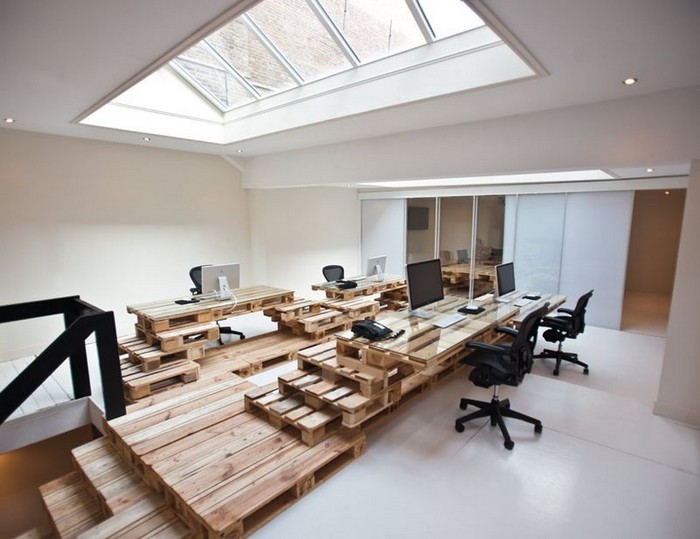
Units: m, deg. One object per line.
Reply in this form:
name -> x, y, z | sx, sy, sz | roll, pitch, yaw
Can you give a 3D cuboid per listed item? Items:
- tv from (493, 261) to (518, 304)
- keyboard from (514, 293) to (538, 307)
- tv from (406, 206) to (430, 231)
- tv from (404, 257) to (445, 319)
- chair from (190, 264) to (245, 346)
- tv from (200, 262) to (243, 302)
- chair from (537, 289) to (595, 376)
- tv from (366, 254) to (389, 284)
tv -> 2.437, 0.211, 6.869 | 0.190, 0.438, 0.607 | 7, 15, 35
keyboard -> 2.581, 0.453, 6.471 | 0.144, 0.049, 0.445 | 12, 16, 37
tv -> 1.647, -1.231, 10.513 | 0.532, 0.507, 0.177 | 12, 20, 41
tv -> 0.944, 0.267, 5.570 | 0.252, 0.625, 0.867 | 10, 16, 36
chair -> -1.981, 0.477, 6.636 | 0.664, 0.986, 0.623 | 16, -29, -43
tv -> -1.946, 0.214, 6.662 | 0.551, 0.459, 0.175 | -8, 29, -35
chair -> 2.994, 0.861, 6.263 | 0.789, 1.048, 0.783 | 3, 8, 27
tv -> 0.548, 0.006, 8.792 | 0.587, 0.557, 0.219 | -12, 25, -35
